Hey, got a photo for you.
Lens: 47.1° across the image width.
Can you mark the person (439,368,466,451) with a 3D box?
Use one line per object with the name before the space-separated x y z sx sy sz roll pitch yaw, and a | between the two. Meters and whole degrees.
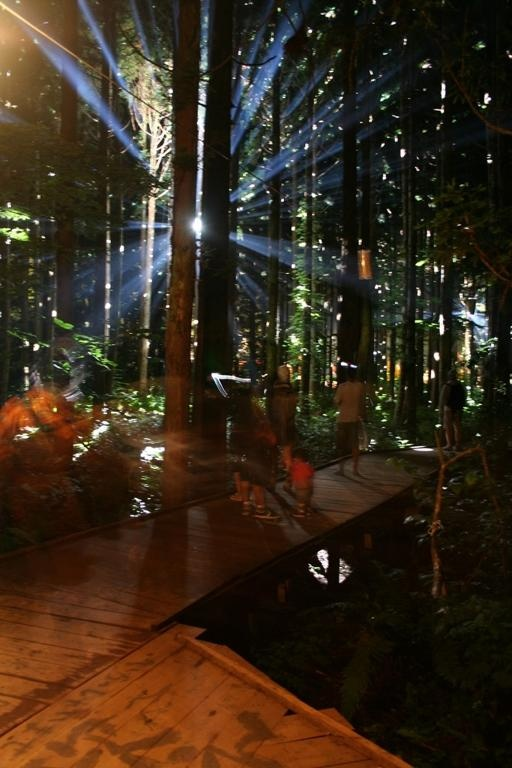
person | 4.481 0.577 13.397 0.473 1.738 1.119 1 0 18
